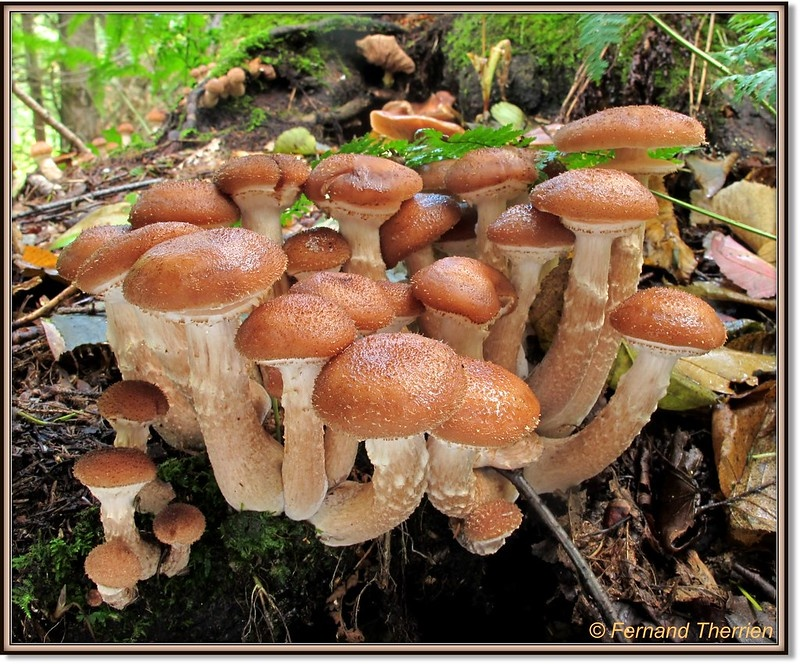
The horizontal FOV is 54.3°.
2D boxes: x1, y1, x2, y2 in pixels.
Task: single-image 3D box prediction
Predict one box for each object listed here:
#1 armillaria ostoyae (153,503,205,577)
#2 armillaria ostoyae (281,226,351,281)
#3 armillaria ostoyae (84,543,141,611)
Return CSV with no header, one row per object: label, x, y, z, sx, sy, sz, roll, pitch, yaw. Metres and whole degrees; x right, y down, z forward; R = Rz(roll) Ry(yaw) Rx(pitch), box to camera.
armillaria ostoyae,-1.204,1.141,4.235,0.312,0.385,0.303,12,15,-14
armillaria ostoyae,-0.481,-0.452,4.540,0.337,0.235,0.339,-4,2,-16
armillaria ostoyae,-1.521,1.320,4.143,0.323,0.269,0.280,13,24,-4
